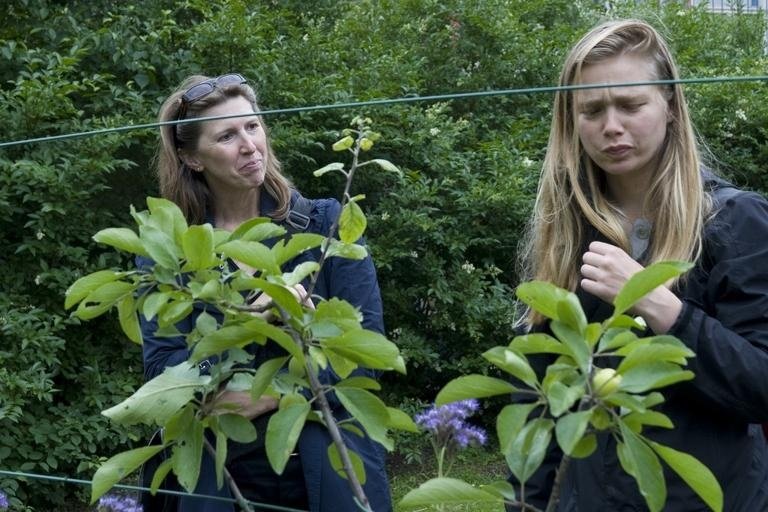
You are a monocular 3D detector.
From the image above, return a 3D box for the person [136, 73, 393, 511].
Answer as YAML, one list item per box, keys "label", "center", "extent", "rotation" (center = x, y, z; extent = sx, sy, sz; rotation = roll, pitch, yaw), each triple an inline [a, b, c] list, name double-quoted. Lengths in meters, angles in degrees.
- label: "person"
  center: [-0.396, 0.075, 2.623]
  extent: [0.627, 1.264, 1.015]
  rotation: [-1, 4, -28]

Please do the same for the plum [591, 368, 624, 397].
- label: "plum"
  center: [0.458, 0.264, 1.917]
  extent: [0.061, 0.059, 0.023]
  rotation: [1, 4, 13]

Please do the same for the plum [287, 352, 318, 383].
- label: "plum"
  center: [-0.170, 0.246, 2.051]
  extent: [0.075, 0.050, 0.026]
  rotation: [0, 14, 3]
